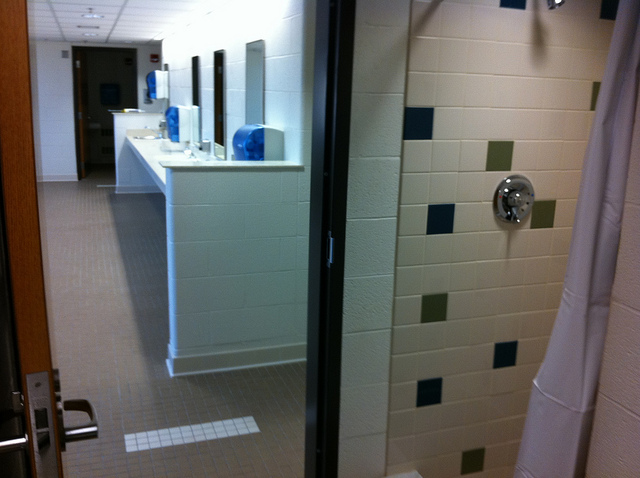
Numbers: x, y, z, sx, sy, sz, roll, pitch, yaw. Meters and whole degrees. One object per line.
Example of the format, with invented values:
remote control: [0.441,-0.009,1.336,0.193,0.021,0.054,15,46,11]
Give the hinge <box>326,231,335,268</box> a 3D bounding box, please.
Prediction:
hinge: [0.030,0.027,1.460,0.015,0.100,0.030,-11,12,-33]

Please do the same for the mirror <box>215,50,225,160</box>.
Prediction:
mirror: [-0.750,-1.016,3.748,0.017,0.750,0.150,-13,23,-43]

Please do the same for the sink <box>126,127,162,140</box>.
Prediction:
sink: [-2.154,-1.289,6.112,0.365,0.167,0.573,-9,12,-20]

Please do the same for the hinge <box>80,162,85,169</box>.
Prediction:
hinge: [-3.428,-1.051,7.205,0.021,0.087,0.393,-8,12,-19]

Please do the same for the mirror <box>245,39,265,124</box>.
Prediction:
mirror: [-0.382,-0.916,2.934,0.124,0.474,0.428,-6,11,-12]
